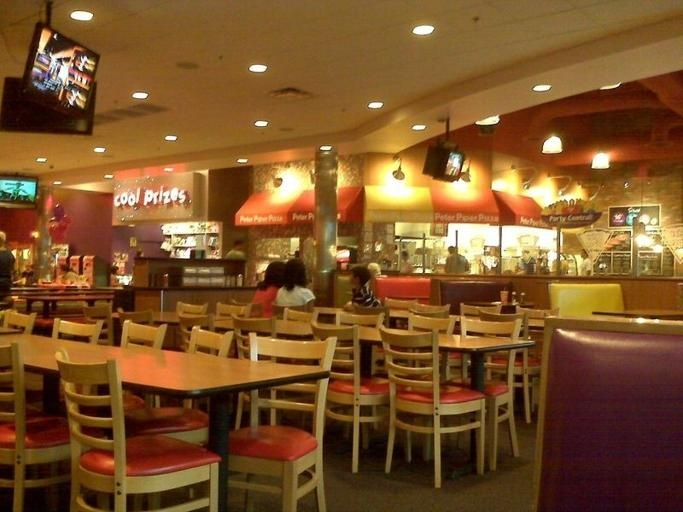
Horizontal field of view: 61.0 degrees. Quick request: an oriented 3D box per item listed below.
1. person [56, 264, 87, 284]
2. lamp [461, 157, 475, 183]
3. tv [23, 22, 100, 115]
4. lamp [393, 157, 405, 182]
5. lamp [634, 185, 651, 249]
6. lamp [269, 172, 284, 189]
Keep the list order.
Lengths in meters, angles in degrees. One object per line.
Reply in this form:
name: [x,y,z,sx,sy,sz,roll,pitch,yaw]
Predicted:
person: [-6.405,0.433,13.918,0.444,0.727,0.430,-2,1,-36]
lamp: [2.775,-1.918,12.964,0.240,0.556,0.402,-1,-3,20]
tv: [-2.797,-1.923,5.839,0.161,0.756,1.151,11,-2,18]
lamp: [1.234,-1.846,12.420,0.432,0.409,0.412,4,26,5]
lamp: [7.079,-1.038,13.894,0.299,1.697,0.789,-1,-3,28]
lamp: [-1.576,-1.864,14.306,0.183,0.319,0.334,9,-37,-42]
